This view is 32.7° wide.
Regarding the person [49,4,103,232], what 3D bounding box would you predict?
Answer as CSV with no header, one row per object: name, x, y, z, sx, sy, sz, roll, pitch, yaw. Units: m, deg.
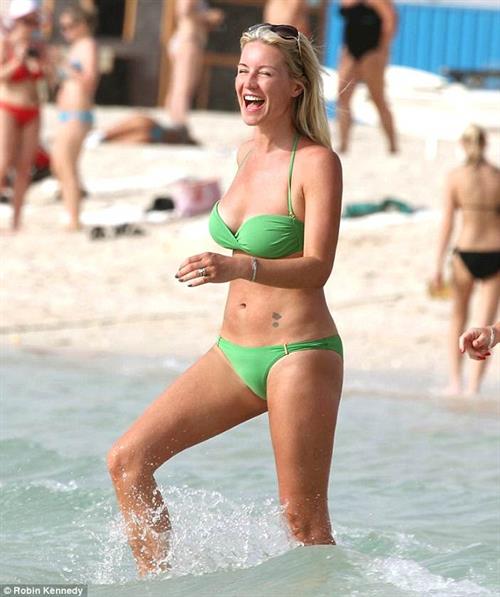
person,-1.628,-1.655,7.977,0.414,2.113,0.634,1,14,-9

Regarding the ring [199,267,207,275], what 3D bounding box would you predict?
ring,-0.121,-0.076,2.237,0.030,0.020,0.008,-1,-2,-4

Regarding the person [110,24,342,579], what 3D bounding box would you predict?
person,0.029,0.008,2.489,0.649,1.623,0.638,10,15,24
